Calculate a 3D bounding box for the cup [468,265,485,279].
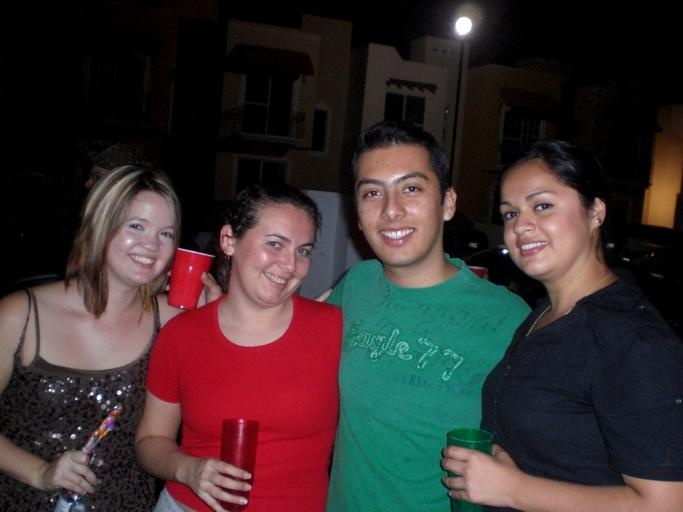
[{"bbox_3d":[0.868,0.100,3.519,0.103,0.097,0.103,2,3,0],"label":"cup"}]
